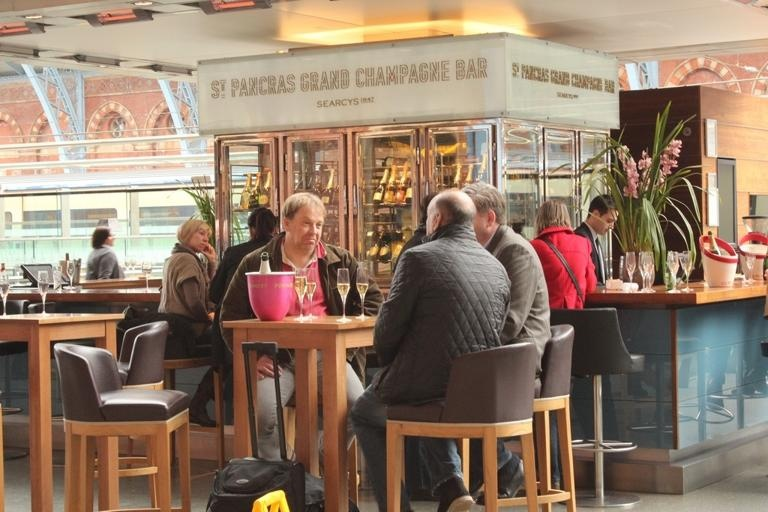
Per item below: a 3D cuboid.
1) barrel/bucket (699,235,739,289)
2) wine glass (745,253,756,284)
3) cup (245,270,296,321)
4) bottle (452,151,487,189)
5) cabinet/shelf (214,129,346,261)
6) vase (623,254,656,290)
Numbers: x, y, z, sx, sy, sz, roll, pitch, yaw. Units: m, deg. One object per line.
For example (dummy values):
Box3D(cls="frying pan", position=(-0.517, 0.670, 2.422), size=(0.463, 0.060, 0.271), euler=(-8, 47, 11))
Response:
Box3D(cls="barrel/bucket", position=(3.016, 0.039, 7.205), size=(0.302, 0.488, 0.657), euler=(-3, -1, 22))
Box3D(cls="wine glass", position=(3.470, 0.105, 7.617), size=(0.101, 0.273, 0.169), euler=(-3, -1, 32))
Box3D(cls="cup", position=(-0.712, 0.252, 5.115), size=(0.331, 0.297, 0.350), euler=(-2, -2, 0))
Box3D(cls="bottle", position=(0.907, -0.879, 8.237), size=(0.395, 0.329, 0.069), euler=(-3, -1, 36))
Box3D(cls="cabinet/shelf", position=(-0.986, -0.680, 7.985), size=(1.396, 1.386, 0.509), euler=(-1, -2, 28))
Box3D(cls="vase", position=(2.130, 0.124, 6.709), size=(0.239, 0.324, 0.300), euler=(-3, -1, 20))
